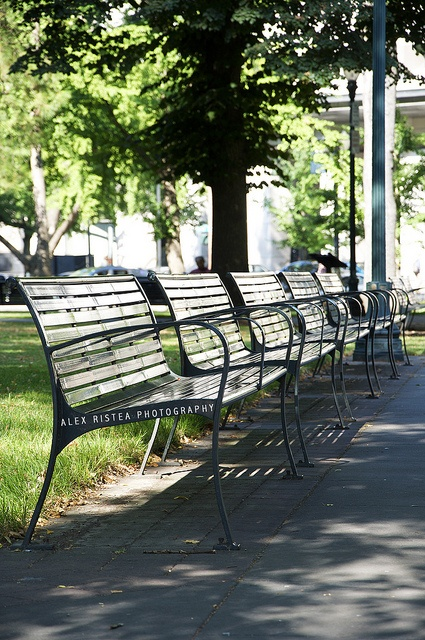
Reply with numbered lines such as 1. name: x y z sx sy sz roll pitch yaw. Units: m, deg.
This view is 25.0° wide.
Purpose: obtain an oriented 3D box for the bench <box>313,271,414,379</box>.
1. bench: 1.632 0.075 10.042 0.648 0.913 1.540 -2 1 15

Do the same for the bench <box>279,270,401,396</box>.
1. bench: 1.191 0.137 8.634 0.598 0.770 1.479 -1 0 17
